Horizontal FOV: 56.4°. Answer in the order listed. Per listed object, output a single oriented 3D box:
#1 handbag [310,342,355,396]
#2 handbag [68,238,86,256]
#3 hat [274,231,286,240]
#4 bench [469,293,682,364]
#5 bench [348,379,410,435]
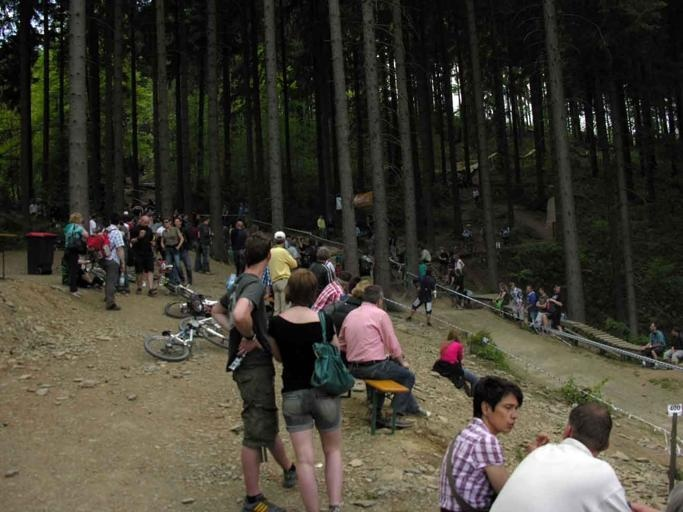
[{"bbox_3d":[-0.121,1.513,8.382,0.587,0.679,0.272,8,8,-8],"label":"handbag"},{"bbox_3d":[-7.151,-0.266,17.151,0.192,0.284,0.376,22,-1,26],"label":"handbag"},{"bbox_3d":[-1.526,-0.494,15.681,0.321,0.157,0.459,1,10,-3],"label":"hat"},{"bbox_3d":[9.111,2.846,24.675,1.319,0.558,7.412,11,4,-38],"label":"bench"},{"bbox_3d":[0.629,2.810,11.361,0.517,0.975,1.512,-19,-8,-9],"label":"bench"}]
